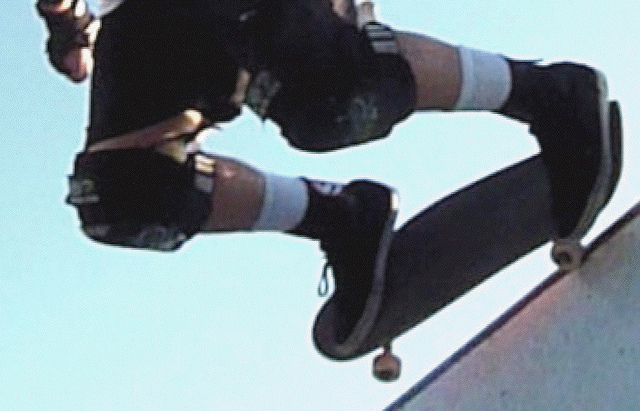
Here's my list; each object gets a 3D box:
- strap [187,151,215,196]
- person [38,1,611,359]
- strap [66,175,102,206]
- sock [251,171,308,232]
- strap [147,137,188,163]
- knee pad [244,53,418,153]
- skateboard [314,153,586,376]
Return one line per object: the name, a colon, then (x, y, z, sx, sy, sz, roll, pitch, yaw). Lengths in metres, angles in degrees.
strap: (-0.262, -0.069, 2.129, 0.080, 0.086, 0.021, 17, -19, -31)
person: (-0.004, -0.147, 2.230, 1.338, 0.624, 0.554, 19, -37, -21)
strap: (-0.514, -0.037, 2.114, 0.061, 0.045, 0.063, -1, -68, -13)
sock: (-0.088, -0.005, 2.238, 0.116, 0.129, 0.101, 13, -35, -14)
strap: (-0.327, -0.129, 2.125, 0.071, 0.020, 0.045, -7, -62, -4)
knee pad: (0.028, -0.224, 2.147, 0.324, 0.144, 0.228, -7, -78, -18)
skateboard: (0.299, 0.153, 2.218, 0.495, 0.161, 0.266, -32, -48, 14)
